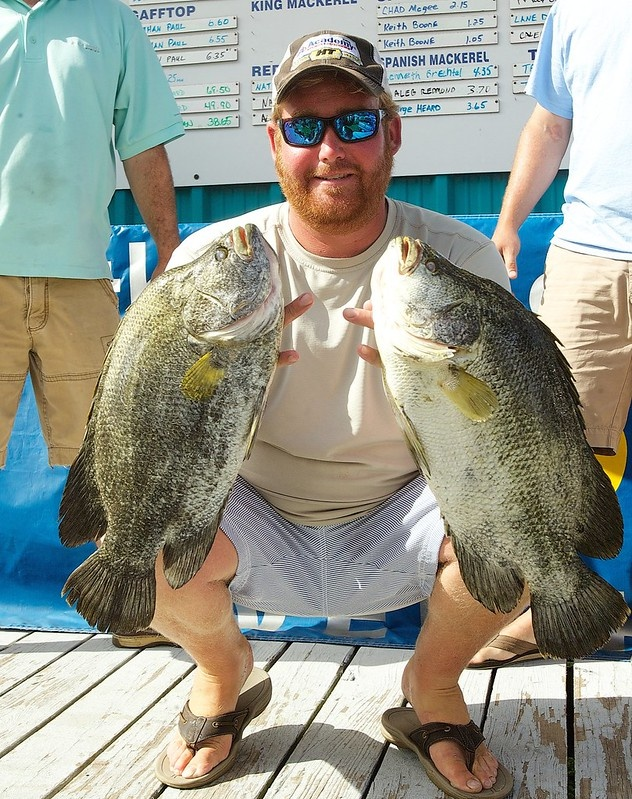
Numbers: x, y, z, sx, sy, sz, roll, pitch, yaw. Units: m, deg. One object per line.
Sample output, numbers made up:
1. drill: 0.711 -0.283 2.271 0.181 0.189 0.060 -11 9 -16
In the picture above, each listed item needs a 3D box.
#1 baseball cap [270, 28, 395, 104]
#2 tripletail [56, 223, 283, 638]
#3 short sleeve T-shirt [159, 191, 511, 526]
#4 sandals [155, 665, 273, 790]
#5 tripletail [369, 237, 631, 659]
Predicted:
1. baseball cap: 0.030 -0.869 1.980 0.297 0.167 0.198 -3 28 1
2. tripletail: -0.324 0.073 1.644 0.596 0.827 0.253 -26 36 -33
3. short sleeve T-shirt: 0.028 -0.101 2.358 1.301 0.781 0.430 10 4 -5
4. sandals: -0.237 0.822 1.908 0.118 0.080 0.312 7 25 28
5. tripletail: 0.406 0.086 1.616 0.328 0.846 0.622 -29 37 -34
